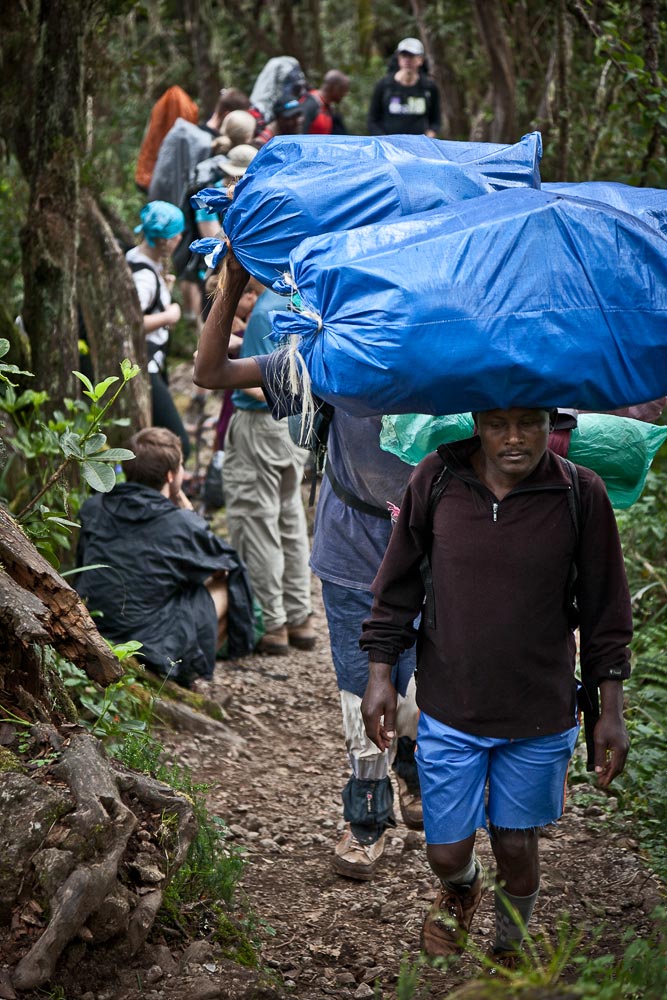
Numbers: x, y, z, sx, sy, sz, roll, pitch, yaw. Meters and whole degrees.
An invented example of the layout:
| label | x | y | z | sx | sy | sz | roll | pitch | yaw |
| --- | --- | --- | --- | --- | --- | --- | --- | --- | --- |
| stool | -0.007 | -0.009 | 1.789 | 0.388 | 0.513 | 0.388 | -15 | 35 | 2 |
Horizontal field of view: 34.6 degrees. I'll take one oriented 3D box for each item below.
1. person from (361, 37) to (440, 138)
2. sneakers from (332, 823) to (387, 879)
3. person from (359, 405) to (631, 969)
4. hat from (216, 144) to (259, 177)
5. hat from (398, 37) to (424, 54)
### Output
| label | x | y | z | sx | sy | sz | roll | pitch | yaw |
| --- | --- | --- | --- | --- | --- | --- | --- | --- | --- |
| person | 0.671 | -4.144 | 10.828 | 0.736 | 0.950 | 0.717 | 2 | 11 | 28 |
| sneakers | 0.086 | 1.183 | 3.623 | 0.107 | 0.100 | 0.247 | 13 | 7 | 8 |
| person | 0.375 | 0.465 | 2.616 | 0.651 | 1.392 | 0.302 | 5 | 12 | 38 |
| hat | -0.658 | -2.287 | 7.204 | 0.244 | 0.255 | 0.441 | -4 | 9 | -7 |
| hat | 0.748 | -4.459 | 10.490 | 0.222 | 0.189 | 0.322 | -2 | 9 | 2 |
